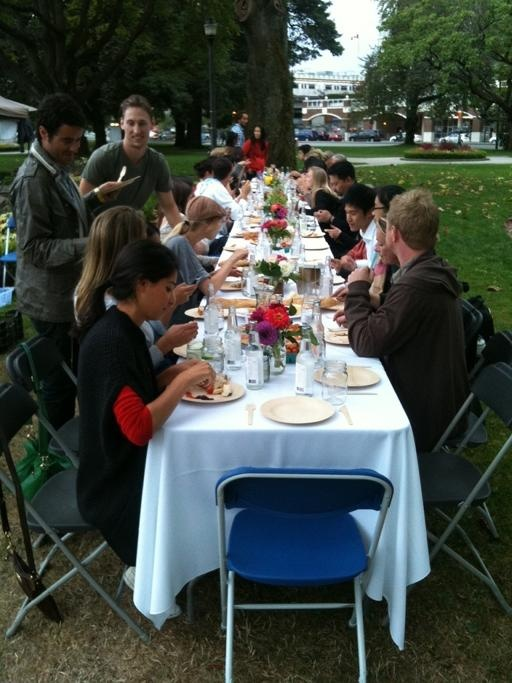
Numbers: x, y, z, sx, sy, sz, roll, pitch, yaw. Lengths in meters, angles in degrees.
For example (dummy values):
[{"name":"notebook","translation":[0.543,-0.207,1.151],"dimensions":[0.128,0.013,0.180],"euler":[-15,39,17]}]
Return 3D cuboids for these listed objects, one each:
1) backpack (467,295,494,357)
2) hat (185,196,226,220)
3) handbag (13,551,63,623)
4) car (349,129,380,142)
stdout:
[{"name":"backpack","translation":[1.295,-0.089,3.216],"dimensions":[0.159,0.200,0.289],"euler":[-14,-18,8]},{"name":"hat","translation":[-0.339,-0.852,3.615],"dimensions":[0.163,0.209,0.205],"euler":[2,-1,10]},{"name":"handbag","translation":[-0.819,0.930,2.043],"dimensions":[0.096,0.322,0.077],"euler":[-2,26,32]},{"name":"car","translation":[10.074,-18.880,50.136],"dimensions":[2.274,1.011,1.416],"euler":[12,35,8]}]
